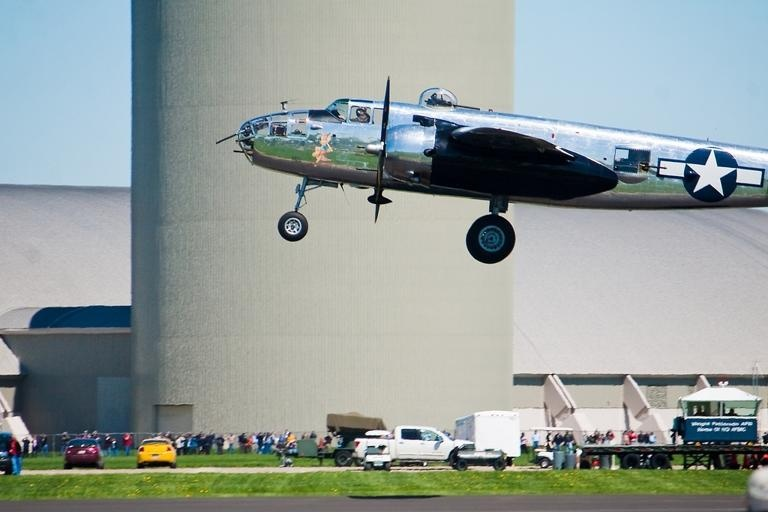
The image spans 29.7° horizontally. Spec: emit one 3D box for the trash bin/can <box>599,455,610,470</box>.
[{"bbox_3d":[15.331,14.077,99.740,0.887,0.892,0.850,1,0,-32],"label":"trash bin/can"}]

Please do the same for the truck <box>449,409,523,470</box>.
[{"bbox_3d":[8.123,12.868,105.901,5.492,3.402,3.230,-9,3,16],"label":"truck"}]

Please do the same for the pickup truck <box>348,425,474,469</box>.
[{"bbox_3d":[1.788,13.618,103.139,9.372,2.895,3.994,2,-7,-19],"label":"pickup truck"}]

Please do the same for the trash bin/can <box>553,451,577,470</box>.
[{"bbox_3d":[12.452,14.031,99.971,1.357,0.900,1.231,-1,-4,11],"label":"trash bin/can"}]
